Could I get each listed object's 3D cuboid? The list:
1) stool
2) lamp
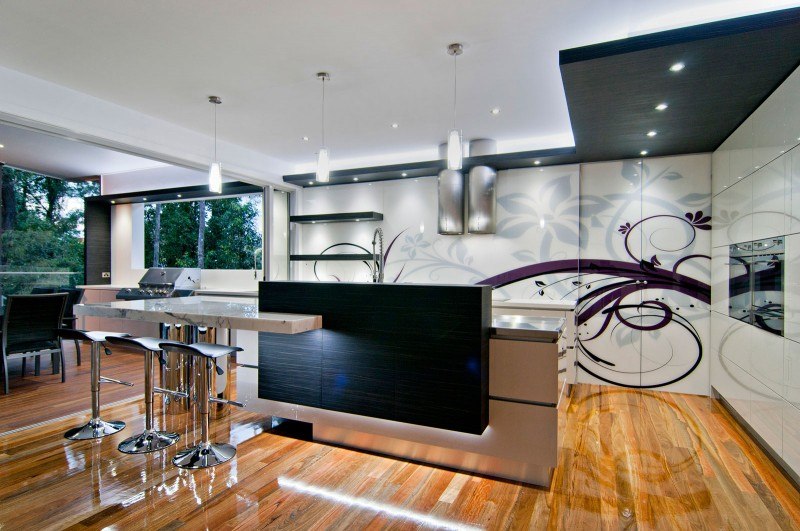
[{"bbox_3d":[-2.125,1.183,4.794,1.385,1.085,0.674,0,2,34],"label":"stool"},{"bbox_3d":[-0.544,-1.448,6.371,2.770,1.135,2.801,-1,1,9],"label":"lamp"}]
